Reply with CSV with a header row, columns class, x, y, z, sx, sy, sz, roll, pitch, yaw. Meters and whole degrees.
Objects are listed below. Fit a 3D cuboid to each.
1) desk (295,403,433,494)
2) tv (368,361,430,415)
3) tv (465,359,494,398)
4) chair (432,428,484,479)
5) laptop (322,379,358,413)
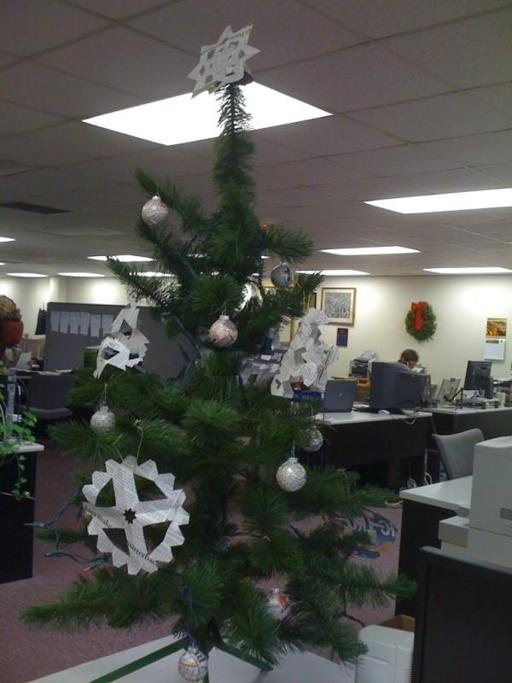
class,x,y,z,sx,sy,sz,roll,pitch,yaw
desk,1.131,1.076,5.057,1.642,0.745,0.357,5,0,-40
tv,1.416,0.448,5.397,0.798,0.624,0.451,-2,7,-34
tv,2.948,0.514,6.908,0.514,0.484,0.242,1,3,-20
chair,1.115,0.639,2.907,0.187,0.259,0.444,5,0,31
laptop,0.812,0.533,5.033,0.220,0.320,0.588,5,0,20
